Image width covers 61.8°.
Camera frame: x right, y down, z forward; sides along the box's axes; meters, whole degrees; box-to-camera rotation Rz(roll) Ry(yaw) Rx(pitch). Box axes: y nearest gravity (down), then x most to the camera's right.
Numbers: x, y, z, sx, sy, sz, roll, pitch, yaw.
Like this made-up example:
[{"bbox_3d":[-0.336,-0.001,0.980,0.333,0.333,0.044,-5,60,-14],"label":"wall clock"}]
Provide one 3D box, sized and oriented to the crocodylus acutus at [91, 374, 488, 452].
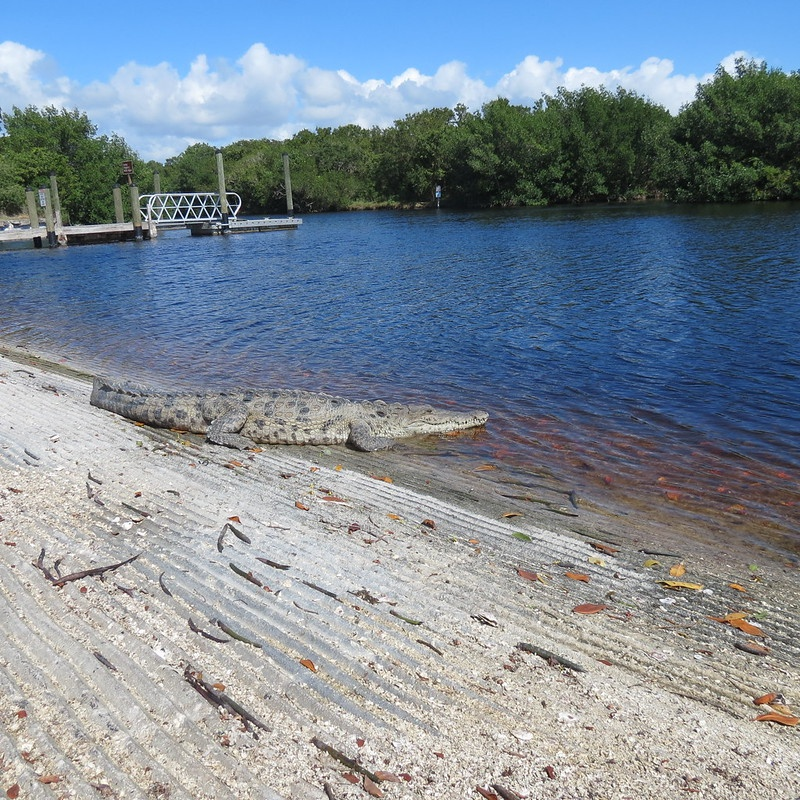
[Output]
[{"bbox_3d":[-1.255,0.206,8.414,3.748,0.515,1.656,2,1,-7],"label":"crocodylus acutus"}]
